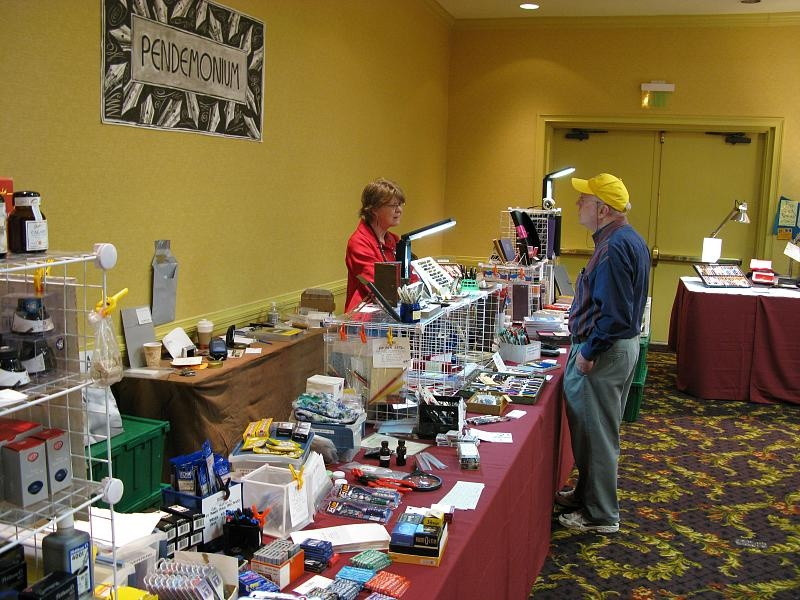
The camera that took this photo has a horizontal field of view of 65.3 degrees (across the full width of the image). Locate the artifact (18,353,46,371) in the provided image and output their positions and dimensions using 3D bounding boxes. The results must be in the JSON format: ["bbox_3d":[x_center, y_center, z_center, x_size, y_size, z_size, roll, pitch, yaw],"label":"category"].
[{"bbox_3d":[-0.871,0.139,1.471,0.039,0.040,0.031,-24,26,-31],"label":"artifact"}]

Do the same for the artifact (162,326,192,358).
[{"bbox_3d":[-1.294,0.248,3.619,0.042,0.166,0.163,-24,6,35],"label":"artifact"}]

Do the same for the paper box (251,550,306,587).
[{"bbox_3d":[-0.339,0.743,1.736,0.090,0.067,0.134,1,-4,20],"label":"paper box"}]

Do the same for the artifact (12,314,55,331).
[{"bbox_3d":[-0.876,0.055,1.482,0.084,0.047,0.031,-4,10,-28],"label":"artifact"}]

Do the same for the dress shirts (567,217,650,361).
[{"bbox_3d":[1.057,-0.052,3.170,0.379,0.673,0.350,4,9,19],"label":"dress shirts"}]

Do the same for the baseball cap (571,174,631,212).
[{"bbox_3d":[1.050,-0.591,3.276,0.335,0.169,0.213,24,17,17],"label":"baseball cap"}]

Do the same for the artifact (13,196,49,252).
[{"bbox_3d":[-0.902,-0.189,1.517,0.079,0.146,0.105,0,9,-7],"label":"artifact"}]

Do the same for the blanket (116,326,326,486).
[{"bbox_3d":[-0.933,0.485,3.763,0.350,0.389,1.154,6,14,30],"label":"blanket"}]

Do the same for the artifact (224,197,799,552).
[{"bbox_3d":[0.734,0.420,3.642,2.023,0.847,2.096,3,19,22],"label":"artifact"}]
